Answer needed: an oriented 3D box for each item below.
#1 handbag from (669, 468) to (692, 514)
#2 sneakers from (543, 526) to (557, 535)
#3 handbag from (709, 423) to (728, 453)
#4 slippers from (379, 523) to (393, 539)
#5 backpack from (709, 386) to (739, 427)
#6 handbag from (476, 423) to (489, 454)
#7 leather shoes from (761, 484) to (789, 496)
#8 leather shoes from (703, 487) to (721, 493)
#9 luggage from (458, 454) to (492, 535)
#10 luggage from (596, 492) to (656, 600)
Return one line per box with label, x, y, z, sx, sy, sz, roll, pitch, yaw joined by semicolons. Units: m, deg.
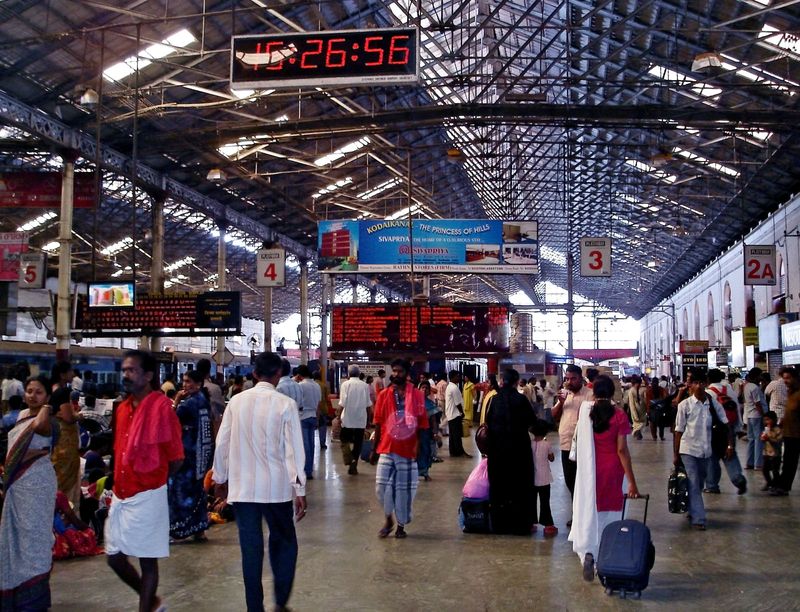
handbag;3.499;2.301;10.370;0.224;0.542;0.267;2;-8;4
sneakers;1.803;2.681;9.901;0.159;0.097;0.238;1;-8;9
handbag;4.209;1.751;10.879;0.198;0.413;0.626;0;-8;22
slippers;-0.166;2.633;9.702;0.065;0.254;0.090;2;34;-28
backpack;5.526;1.627;14.123;0.398;0.544;0.554;-7;8;-3
handbag;0.994;1.639;10.090;0.139;0.385;0.410;2;-8;6
leather shoes;5.766;2.864;12.815;0.434;0.186;0.140;2;-2;44
leather shoes;4.871;2.861;12.928;0.212;0.085;0.116;3;-2;22
luggage;0.910;2.278;10.044;0.361;0.905;0.395;4;-8;-7
luggage;2.195;2.271;7.804;0.539;0.879;0.894;3;-33;17
